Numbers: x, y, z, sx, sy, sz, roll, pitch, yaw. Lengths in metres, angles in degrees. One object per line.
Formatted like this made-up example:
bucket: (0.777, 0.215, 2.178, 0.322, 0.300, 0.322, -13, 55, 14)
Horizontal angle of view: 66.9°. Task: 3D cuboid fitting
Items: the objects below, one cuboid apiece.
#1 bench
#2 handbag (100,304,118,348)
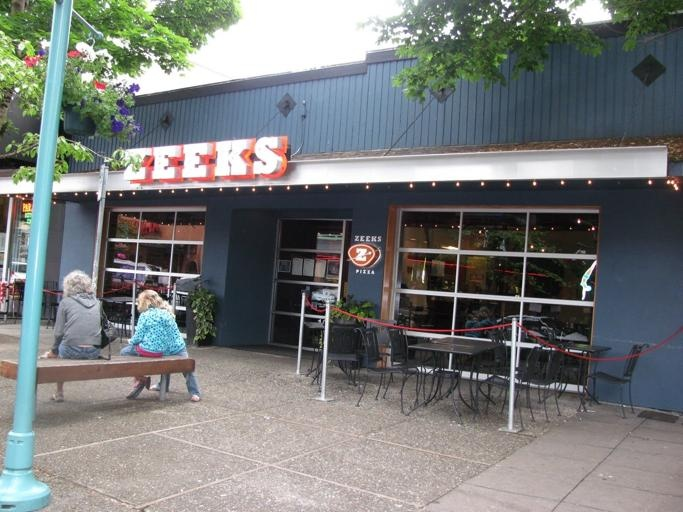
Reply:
bench: (-3.170, 1.726, 6.962, 0.594, 0.671, 2.311, 3, -1, 43)
handbag: (-3.391, 1.068, 7.503, 0.240, 0.648, 0.424, 4, -1, -25)
